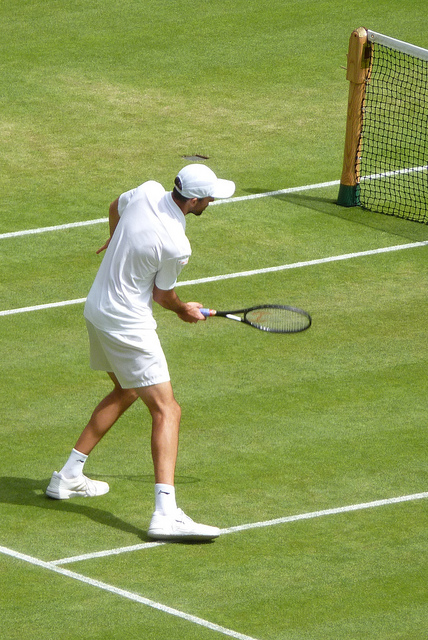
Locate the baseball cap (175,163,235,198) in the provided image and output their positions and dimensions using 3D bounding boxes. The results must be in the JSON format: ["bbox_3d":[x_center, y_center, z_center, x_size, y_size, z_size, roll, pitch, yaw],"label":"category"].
[{"bbox_3d":[-0.059,-0.840,8.493,0.187,0.224,0.467,15,18,33],"label":"baseball cap"}]

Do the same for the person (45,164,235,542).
[{"bbox_3d":[-0.365,0.175,8.475,1.102,2.224,0.657,16,17,37],"label":"person"}]
